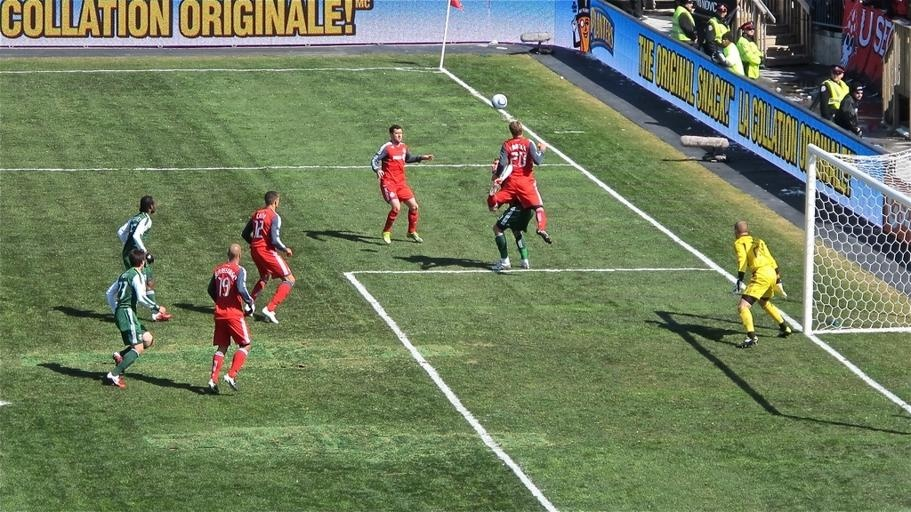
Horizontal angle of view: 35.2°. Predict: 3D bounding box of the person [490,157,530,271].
[{"bbox_3d":[1.619,-0.705,37.501,1.053,2.714,1.486,-1,1,36],"label":"person"}]
